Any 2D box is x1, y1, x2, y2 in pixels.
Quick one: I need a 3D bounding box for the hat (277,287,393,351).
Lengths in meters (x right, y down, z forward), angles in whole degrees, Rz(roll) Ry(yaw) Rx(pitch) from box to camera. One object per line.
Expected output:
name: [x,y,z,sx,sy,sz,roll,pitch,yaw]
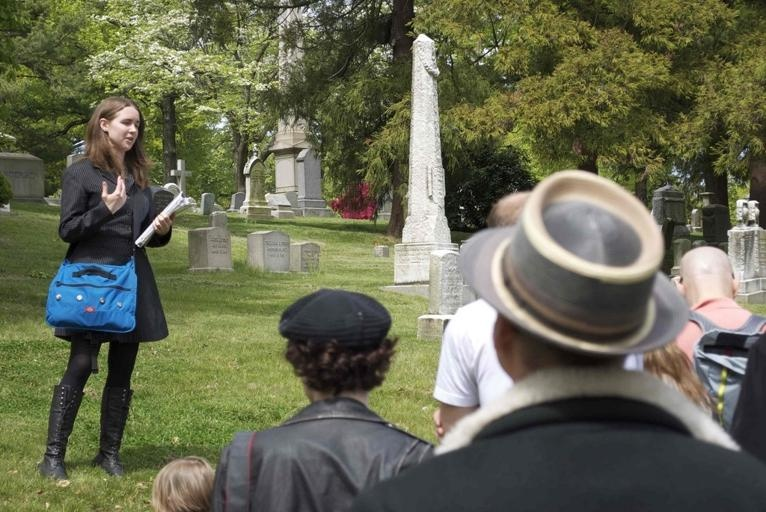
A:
hat: [-0.663,0.892,14.402,1.049,0.454,1.053,-2,2,24]
